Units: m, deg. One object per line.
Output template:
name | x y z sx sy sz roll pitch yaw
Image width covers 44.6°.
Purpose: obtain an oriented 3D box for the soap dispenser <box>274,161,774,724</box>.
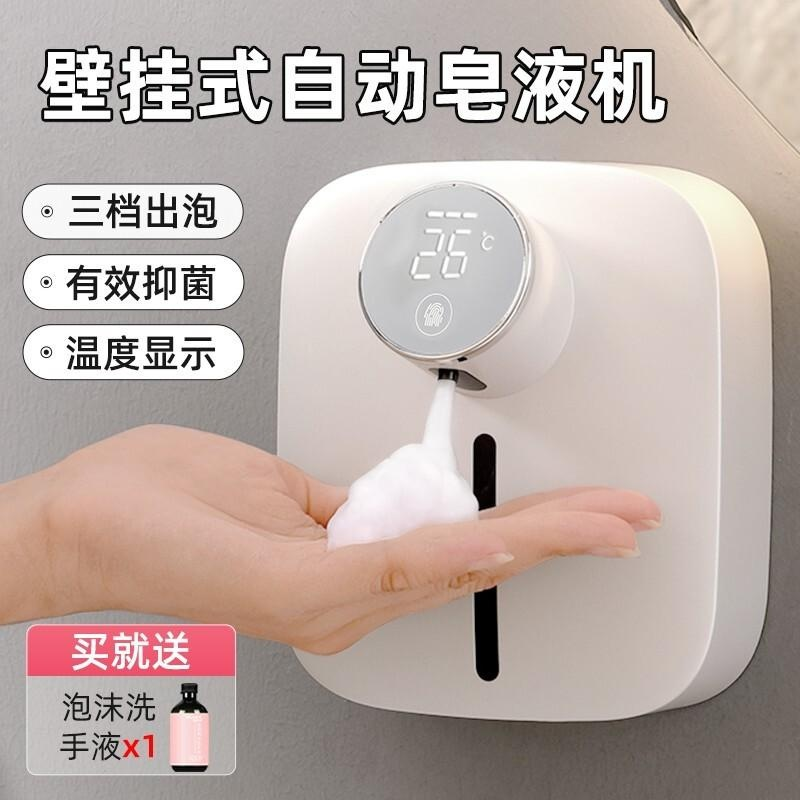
soap dispenser | 0.092 0.031 0.702 0.364 0.138 0.473 1 89 19
